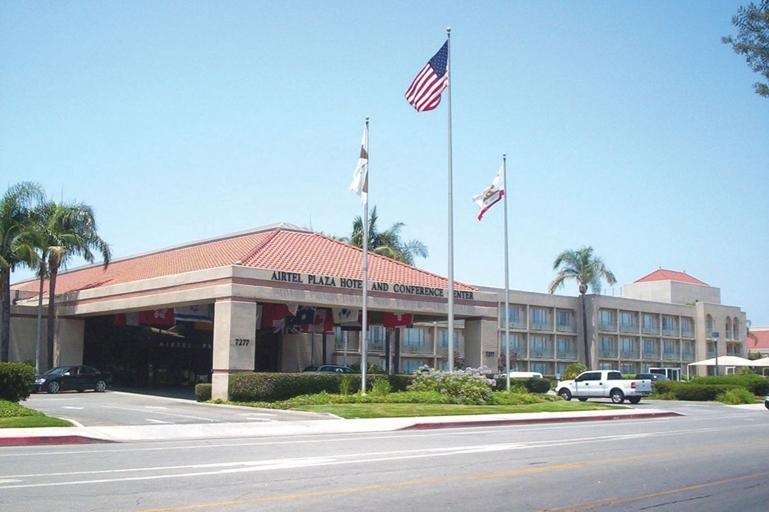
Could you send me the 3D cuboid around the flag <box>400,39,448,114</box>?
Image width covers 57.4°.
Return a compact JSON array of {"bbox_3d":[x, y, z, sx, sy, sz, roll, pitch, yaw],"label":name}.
[{"bbox_3d":[2.285,-8.652,33.540,1.657,0.176,4.203,11,-40,-9],"label":"flag"}]
